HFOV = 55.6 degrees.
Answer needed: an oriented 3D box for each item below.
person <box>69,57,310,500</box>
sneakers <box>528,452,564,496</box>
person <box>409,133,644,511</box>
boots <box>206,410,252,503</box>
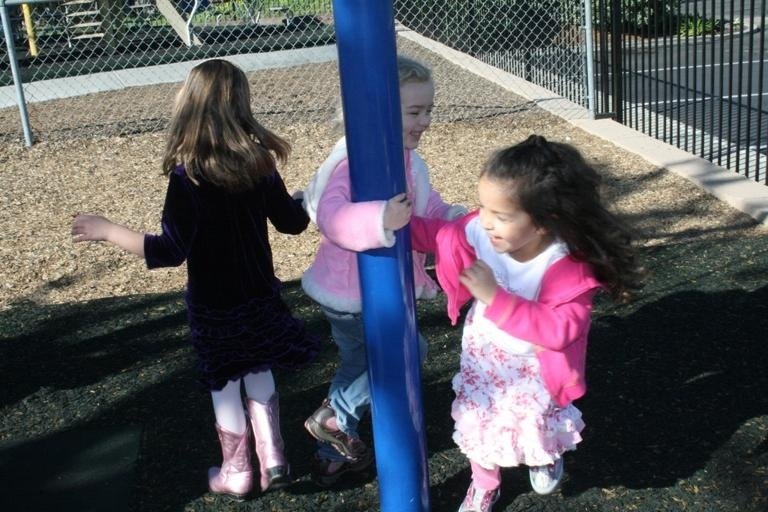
[{"bbox_3d":[-0.774,0.159,3.570,0.944,2.102,0.607,-14,24,-19],"label":"person"},{"bbox_3d":[0.795,1.052,3.614,0.175,0.239,0.084,-18,12,-4],"label":"sneakers"},{"bbox_3d":[0.671,0.360,3.417,0.963,1.783,0.542,-5,22,2],"label":"person"},{"bbox_3d":[-0.817,1.077,3.831,0.201,0.374,0.383,2,-5,-37],"label":"boots"}]
